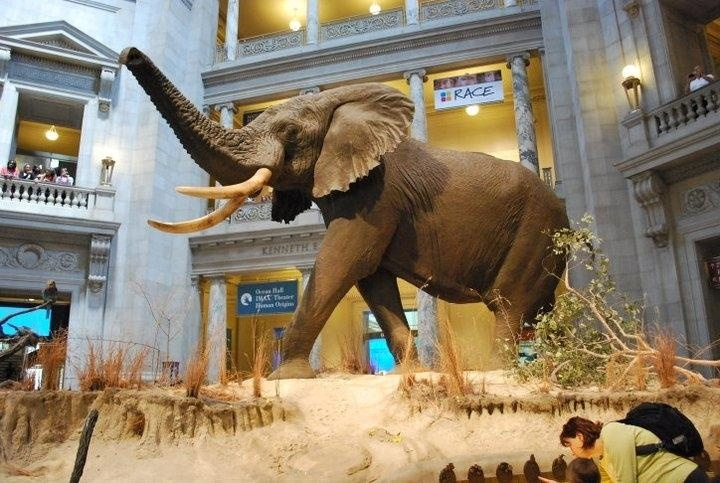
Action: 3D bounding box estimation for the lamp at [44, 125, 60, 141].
[{"bbox_3d":[-10.014,-3.550,17.970,0.469,0.602,0.456,1,-6,-37],"label":"lamp"}]

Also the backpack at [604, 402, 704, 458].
[{"bbox_3d":[2.145,1.369,4.048,0.515,0.397,0.224,8,-22,-9],"label":"backpack"}]

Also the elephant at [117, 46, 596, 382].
[{"bbox_3d":[-0.035,0.001,6.685,5.419,3.446,1.887,9,-10,-7],"label":"elephant"}]

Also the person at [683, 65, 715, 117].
[{"bbox_3d":[6.133,-2.685,9.863,0.418,1.053,0.715,-6,-13,32],"label":"person"}]

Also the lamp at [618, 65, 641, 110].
[{"bbox_3d":[5.280,-2.986,10.649,0.330,1.114,0.341,-5,-13,26],"label":"lamp"}]
